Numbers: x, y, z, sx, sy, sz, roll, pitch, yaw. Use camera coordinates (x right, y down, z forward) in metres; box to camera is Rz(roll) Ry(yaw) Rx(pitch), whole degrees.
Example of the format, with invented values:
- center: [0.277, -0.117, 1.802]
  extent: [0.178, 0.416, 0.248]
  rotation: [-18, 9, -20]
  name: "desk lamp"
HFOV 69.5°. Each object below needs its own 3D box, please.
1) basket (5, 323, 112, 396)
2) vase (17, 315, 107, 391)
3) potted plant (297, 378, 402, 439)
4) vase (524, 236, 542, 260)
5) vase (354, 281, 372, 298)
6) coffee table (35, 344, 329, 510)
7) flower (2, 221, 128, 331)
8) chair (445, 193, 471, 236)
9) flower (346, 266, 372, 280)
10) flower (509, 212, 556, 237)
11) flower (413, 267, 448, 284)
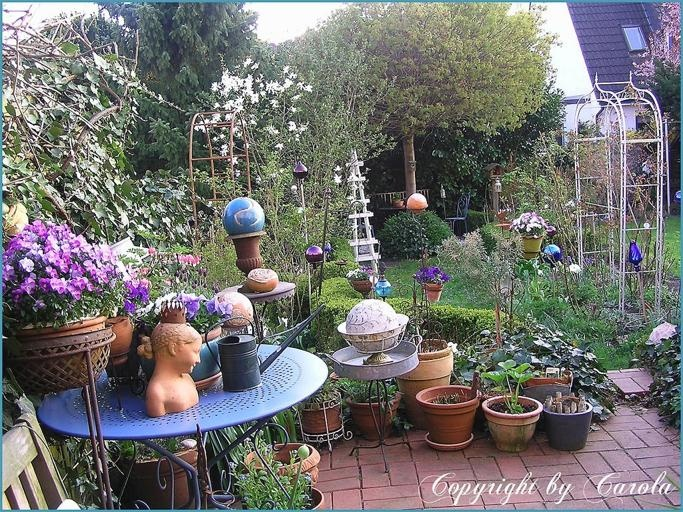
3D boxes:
- center: [-1.007, 0.312, 1.727]
  extent: [0.260, 0.171, 0.275]
  rotation: [-3, -5, -4]
  name: "basket"
- center: [-1.002, 0.312, 1.759]
  extent: [0.255, 0.166, 0.265]
  rotation: [-3, -4, -7]
  name: "vase"
- center: [0.025, 1.146, 3.686]
  extent: [0.487, 0.330, 0.631]
  rotation: [0, -3, -5]
  name: "potted plant"
- center: [2.514, -0.147, 6.591]
  extent: [0.274, 0.263, 0.287]
  rotation: [3, 15, 18]
  name: "vase"
- center: [0.268, 0.402, 6.264]
  extent: [0.196, 0.163, 0.197]
  rotation: [0, -3, -7]
  name: "vase"
- center: [-0.644, 0.405, 2.009]
  extent: [0.751, 0.513, 0.785]
  rotation: [2, 10, 28]
  name: "coffee table"
- center: [-1.035, 0.097, 1.871]
  extent: [0.332, 0.402, 0.275]
  rotation: [-16, -2, -21]
  name: "flower"
- center: [2.764, -0.998, 12.024]
  extent: [0.632, 1.018, 0.536]
  rotation: [-6, 6, -8]
  name: "chair"
- center: [0.226, 0.221, 6.430]
  extent: [0.307, 0.143, 0.371]
  rotation: [-3, 3, 2]
  name: "flower"
- center: [2.488, -0.417, 6.410]
  extent: [0.375, 0.232, 0.406]
  rotation: [4, 10, -2]
  name: "flower"
- center: [1.138, 0.230, 6.166]
  extent: [0.327, 0.247, 0.359]
  rotation: [1, 4, 2]
  name: "flower"
